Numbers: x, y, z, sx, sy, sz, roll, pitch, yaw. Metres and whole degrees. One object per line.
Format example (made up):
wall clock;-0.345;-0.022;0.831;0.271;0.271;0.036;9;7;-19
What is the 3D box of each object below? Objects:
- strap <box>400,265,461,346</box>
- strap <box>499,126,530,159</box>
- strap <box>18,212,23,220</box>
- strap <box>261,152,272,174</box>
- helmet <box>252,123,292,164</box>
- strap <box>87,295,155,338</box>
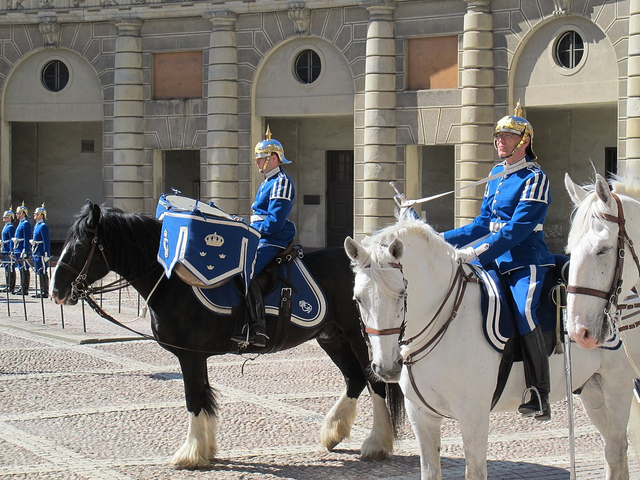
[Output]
strap;1.341;0.846;17.186;0.101;1.128;0.192;35;-5;8
strap;2.562;-1.309;18.059;0.094;0.340;0.288;30;-9;-34
strap;-7.557;-0.607;34.315;0.049;0.182;0.150;18;-4;9
strap;-0.812;-1.133;20.215;0.103;0.310;0.063;6;21;-48
helmet;-0.737;-1.420;20.340;0.629;0.517;0.468;1;11;-12
strap;-3.653;1.413;24.798;1.837;0.288;0.198;28;-31;-25
